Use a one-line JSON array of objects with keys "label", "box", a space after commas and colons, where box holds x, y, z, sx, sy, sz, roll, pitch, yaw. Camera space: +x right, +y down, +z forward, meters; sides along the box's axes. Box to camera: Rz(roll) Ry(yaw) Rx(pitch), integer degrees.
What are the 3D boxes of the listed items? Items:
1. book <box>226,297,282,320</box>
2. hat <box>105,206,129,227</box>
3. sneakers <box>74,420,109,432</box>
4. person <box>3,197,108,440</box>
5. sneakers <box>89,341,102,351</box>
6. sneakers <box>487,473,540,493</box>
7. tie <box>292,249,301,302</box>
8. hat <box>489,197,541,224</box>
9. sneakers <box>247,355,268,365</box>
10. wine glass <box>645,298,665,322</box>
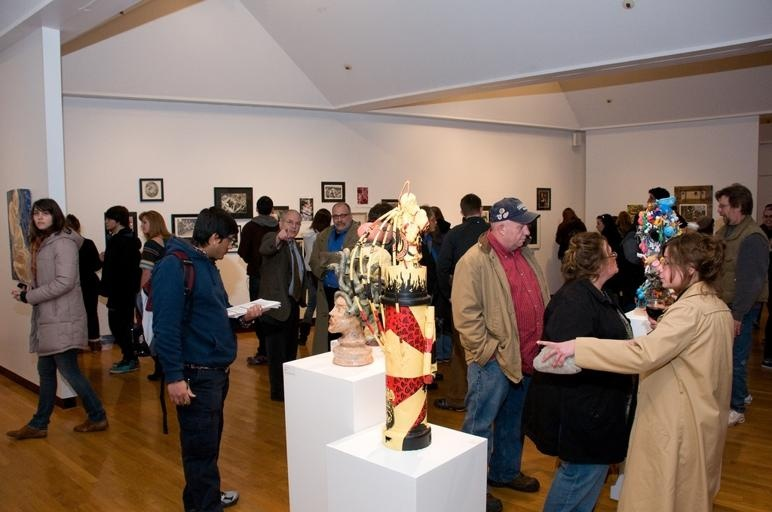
[{"label": "book", "box": [-1.134, 0.430, 4.515, 0.306, 0.080, 0.228, -10, 15, -40]}, {"label": "hat", "box": [-3.631, -0.538, 7.414, 0.296, 0.271, 0.239, -2, 12, 28]}, {"label": "sneakers", "box": [-3.146, 1.817, 5.906, 0.362, 0.147, 0.135, 4, -3, -10]}, {"label": "person", "box": [-3.527, 0.639, 5.773, 0.914, 2.445, 0.591, -4, 11, -19]}, {"label": "sneakers", "box": [-4.481, 1.378, 8.418, 0.181, 0.178, 0.113, -2, 0, 25]}, {"label": "sneakers", "box": [1.135, 1.973, 4.891, 0.473, 0.202, 0.173, -3, -3, 12]}, {"label": "tie", "box": [-1.076, 0.159, 6.362, 0.137, 0.573, 0.083, 3, 9, 18]}, {"label": "hat", "box": [1.041, -0.364, 4.507, 0.332, 0.188, 0.217, -3, 11, 18]}, {"label": "sneakers", "box": [-1.834, 1.482, 7.796, 0.241, 0.104, 0.128, 5, -3, -10]}, {"label": "wine glass", "box": [2.358, 0.470, 4.813, 0.171, 0.145, 0.188, 1, -6, -32]}]
